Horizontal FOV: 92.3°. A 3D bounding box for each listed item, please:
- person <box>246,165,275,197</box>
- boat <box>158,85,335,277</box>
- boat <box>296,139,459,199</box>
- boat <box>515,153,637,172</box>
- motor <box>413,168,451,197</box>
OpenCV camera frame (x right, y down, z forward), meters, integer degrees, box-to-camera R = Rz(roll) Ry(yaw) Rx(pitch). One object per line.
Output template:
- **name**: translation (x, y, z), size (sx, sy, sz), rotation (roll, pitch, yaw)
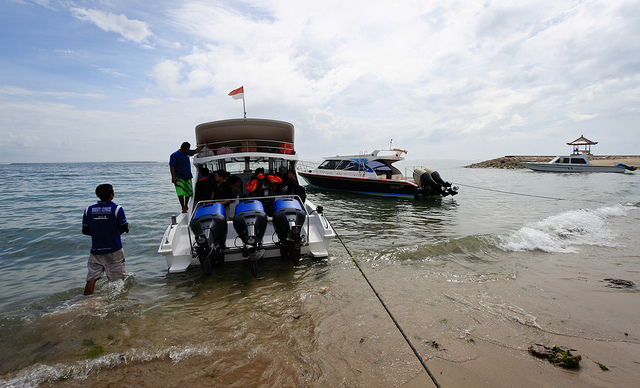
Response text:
- **person**: translation (-1.840, -0.412, 9.260), size (0.835, 0.911, 0.395), rotation (-1, 6, -1)
- **boat**: translation (-2.561, -0.614, 10.712), size (3.410, 3.121, 8.047), rotation (-3, 16, -13)
- **boat**: translation (2.876, -1.581, 21.676), size (11.025, 2.705, 3.853), rotation (9, 10, 35)
- **boat**: translation (30.404, -3.681, 37.318), size (8.311, 2.331, 4.399), rotation (-4, 2, 23)
- **motor**: translation (6.657, -0.811, 18.681), size (1.971, 1.308, 0.949), rotation (-4, 2, 22)
